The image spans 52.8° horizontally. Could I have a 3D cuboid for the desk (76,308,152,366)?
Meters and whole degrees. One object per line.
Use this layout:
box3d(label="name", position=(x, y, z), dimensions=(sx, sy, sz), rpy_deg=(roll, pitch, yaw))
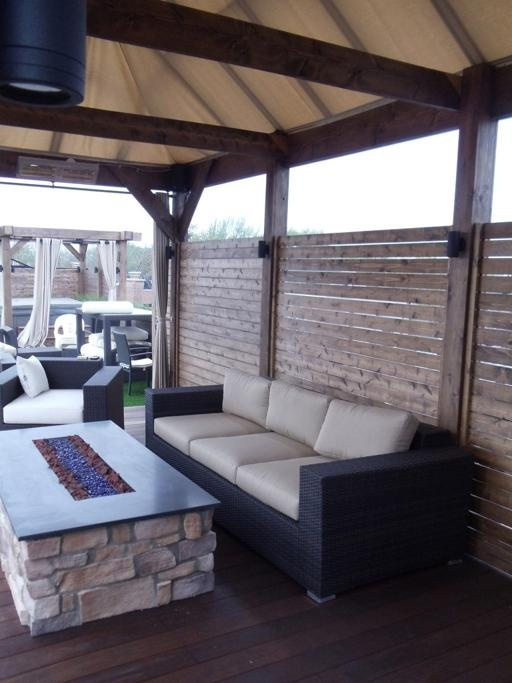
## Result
box3d(label="desk", position=(-2.251, -0.177, 7.957), dimensions=(1.456, 0.802, 0.784), rpy_deg=(4, -5, -11))
